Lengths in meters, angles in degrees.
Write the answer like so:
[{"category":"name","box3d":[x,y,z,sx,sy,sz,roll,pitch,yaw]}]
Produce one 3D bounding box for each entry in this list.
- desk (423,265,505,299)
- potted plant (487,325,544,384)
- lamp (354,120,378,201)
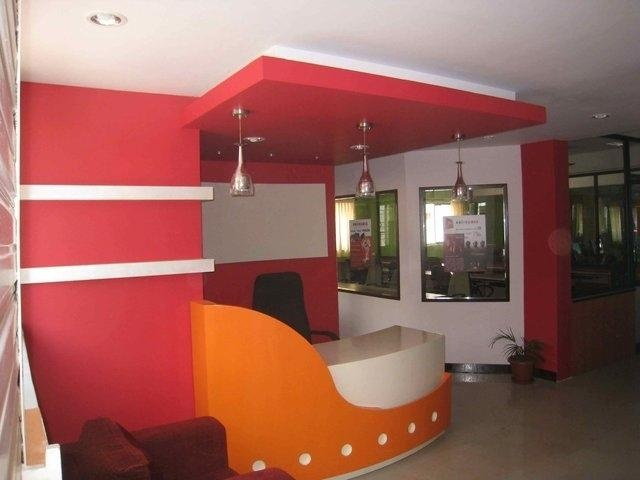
[{"category":"desk","box3d":[1.908,0.594,6.608,0.677,0.560,0.326,-1,2,5]},{"category":"potted plant","box3d":[2.518,1.410,6.399,0.605,0.674,0.545,1,-4,-11]},{"category":"lamp","box3d":[0.378,-0.701,4.248,0.143,0.656,0.148,-3,4,-8]}]
